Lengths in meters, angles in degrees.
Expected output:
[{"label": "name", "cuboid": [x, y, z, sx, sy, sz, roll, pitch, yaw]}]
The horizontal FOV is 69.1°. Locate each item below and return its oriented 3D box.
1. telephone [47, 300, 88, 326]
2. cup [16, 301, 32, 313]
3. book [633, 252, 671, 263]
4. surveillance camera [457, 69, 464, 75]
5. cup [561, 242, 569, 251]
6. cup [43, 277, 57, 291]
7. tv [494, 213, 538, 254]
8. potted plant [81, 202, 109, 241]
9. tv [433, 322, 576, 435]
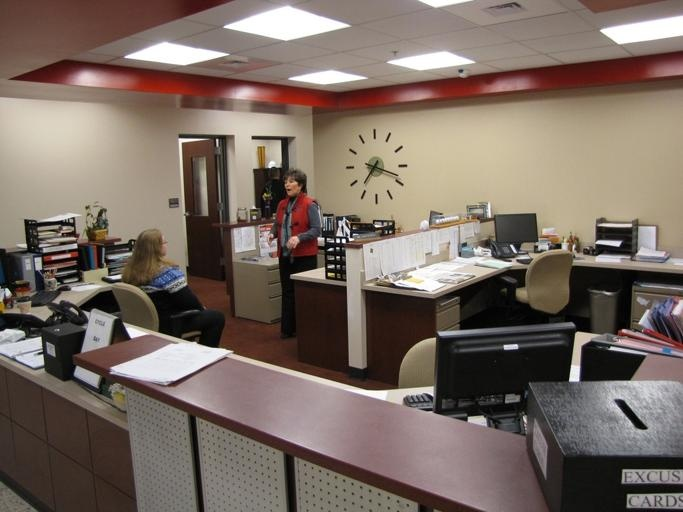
[{"label": "telephone", "cuboid": [-1.626, 0.352, 2.969, 0.220, 0.115, 0.222, 16, 0, 37]}, {"label": "cup", "cuboid": [-2.432, 0.391, 3.813, 0.089, 0.070, 0.089, 0, -2, 0]}, {"label": "book", "cuboid": [3.196, 0.027, 5.139, 0.187, 0.046, 0.182, 5, 14, 41]}, {"label": "surveillance camera", "cuboid": [1.391, -2.140, 5.834, 0.049, 0.087, 0.047, 13, 22, 40]}, {"label": "cup", "cuboid": [2.545, -0.099, 5.665, 0.081, 0.082, 0.057, 4, 11, 21]}, {"label": "cup", "cuboid": [-2.560, 0.258, 4.396, 0.091, 0.095, 0.114, 0, -2, -8]}, {"label": "tv", "cuboid": [2.057, -0.260, 5.874, 0.469, 0.398, 0.166, 0, -5, -5]}, {"label": "potted plant", "cuboid": [-2.538, -0.331, 5.143, 0.205, 0.340, 0.231, 3, 4, 13]}, {"label": "tv", "cuboid": [0.585, 0.446, 1.796, 0.389, 0.341, 0.127, -2, 19, -3]}]
